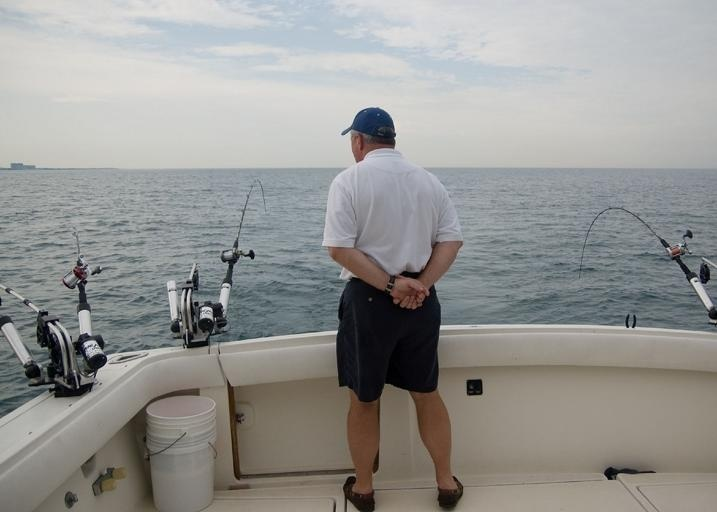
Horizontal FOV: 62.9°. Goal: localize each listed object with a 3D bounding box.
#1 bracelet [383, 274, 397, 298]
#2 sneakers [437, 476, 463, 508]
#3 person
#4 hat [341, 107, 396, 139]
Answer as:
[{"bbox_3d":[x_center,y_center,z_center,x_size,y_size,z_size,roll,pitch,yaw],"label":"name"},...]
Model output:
[{"bbox_3d":[0.146,0.134,2.708,0.053,0.086,0.091,17,-18,8],"label":"bracelet"},{"bbox_3d":[0.459,1.179,2.917,0.076,0.075,0.180,-5,-1,8],"label":"sneakers"},{"bbox_3d":[0.175,0.264,2.856,0.690,1.949,0.377,0,10,-4],"label":"person"},{"bbox_3d":[0.048,-0.654,2.878,0.148,0.104,0.204,-8,14,-37],"label":"hat"}]
